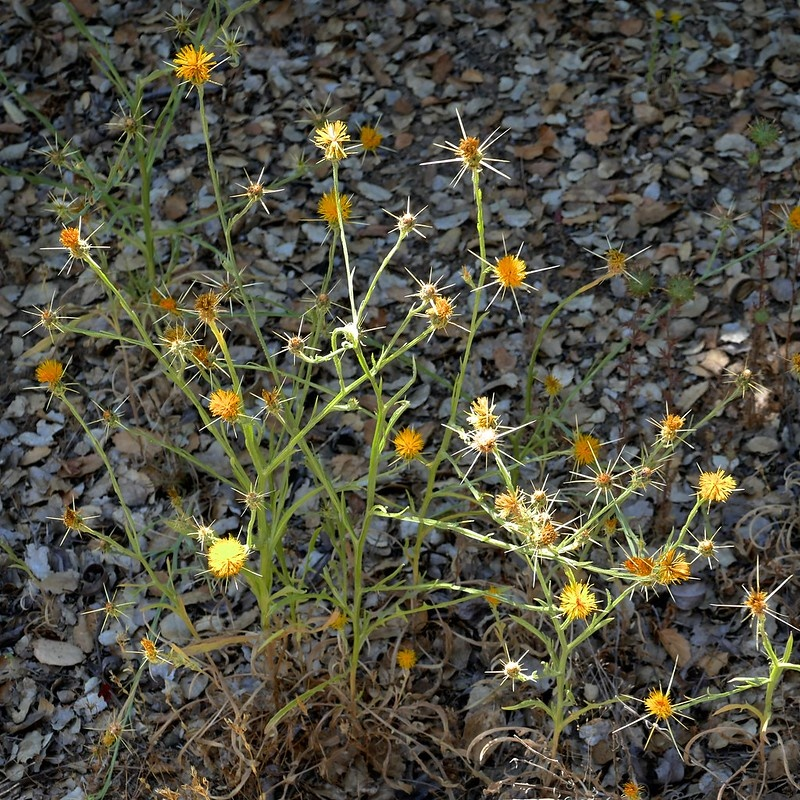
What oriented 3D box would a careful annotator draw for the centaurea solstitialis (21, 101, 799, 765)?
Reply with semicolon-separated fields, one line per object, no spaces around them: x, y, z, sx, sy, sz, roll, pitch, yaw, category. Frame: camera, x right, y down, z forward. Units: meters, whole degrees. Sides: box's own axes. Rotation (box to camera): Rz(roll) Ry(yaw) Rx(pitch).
0.011;0.196;2.844;2.218;1.182;1.983;3;48;4;centaurea solstitialis
